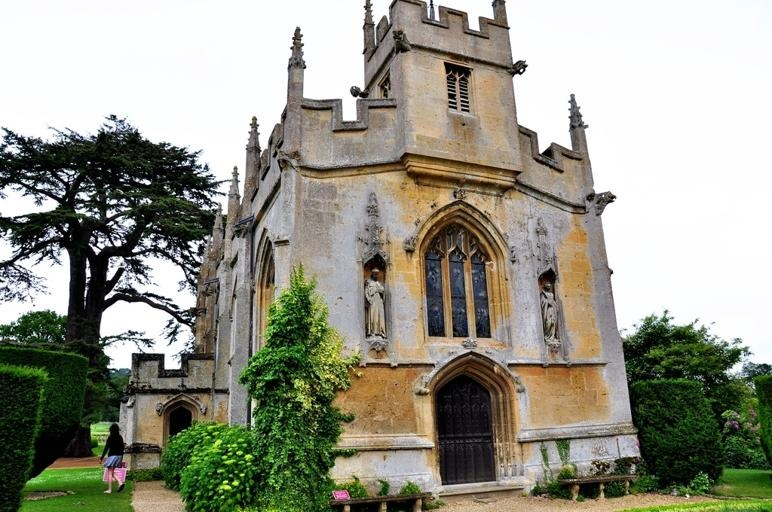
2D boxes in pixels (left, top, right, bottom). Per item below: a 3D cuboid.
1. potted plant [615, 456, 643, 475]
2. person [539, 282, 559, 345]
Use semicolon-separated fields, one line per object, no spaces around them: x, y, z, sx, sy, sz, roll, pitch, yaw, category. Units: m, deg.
8.045;6.913;21.577;1.039;0.530;0.230;5;-22;-21;potted plant
5.529;1.952;22.089;0.669;2.191;0.244;6;-22;-22;person
